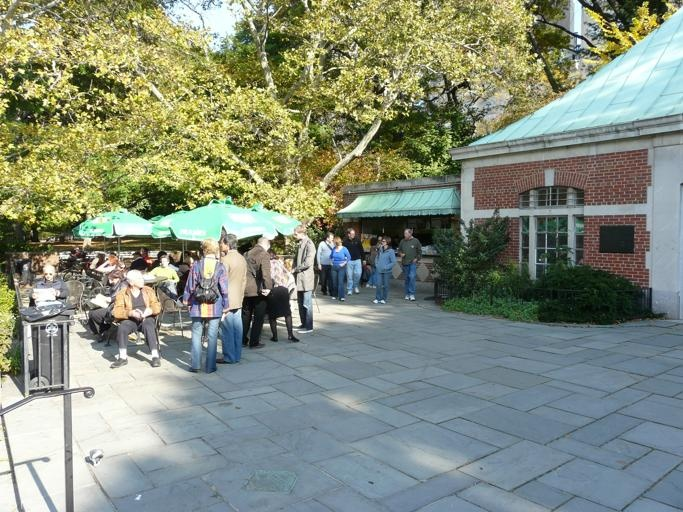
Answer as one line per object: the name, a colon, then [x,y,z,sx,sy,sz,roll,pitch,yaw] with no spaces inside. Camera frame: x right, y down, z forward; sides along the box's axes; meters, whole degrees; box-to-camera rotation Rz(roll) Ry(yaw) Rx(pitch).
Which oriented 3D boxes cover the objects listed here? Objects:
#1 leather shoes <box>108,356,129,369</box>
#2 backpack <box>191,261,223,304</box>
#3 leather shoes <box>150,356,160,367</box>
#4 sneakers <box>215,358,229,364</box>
leather shoes: [-3.842,1.874,9.518,0.122,0.112,0.318,-1,-5,31]
backpack: [-2.205,0.502,8.994,0.437,0.528,0.216,-2,-4,-5]
leather shoes: [-3.234,1.846,9.566,0.179,0.153,0.384,-3,10,-19]
sneakers: [-2.121,1.878,9.725,0.244,0.069,0.092,-3,-3,37]
